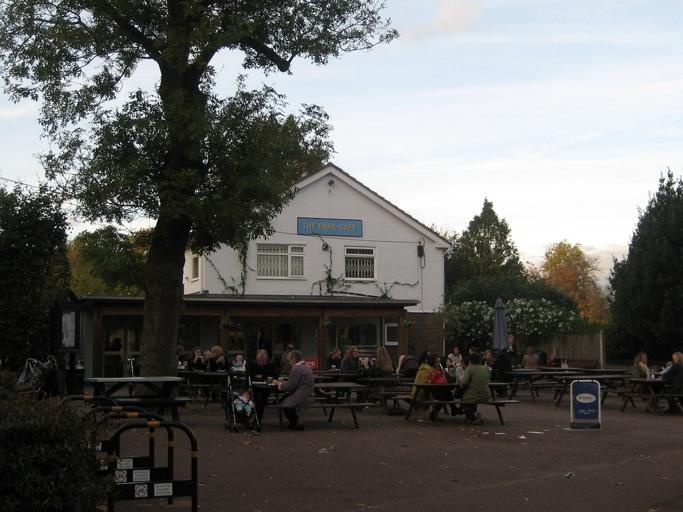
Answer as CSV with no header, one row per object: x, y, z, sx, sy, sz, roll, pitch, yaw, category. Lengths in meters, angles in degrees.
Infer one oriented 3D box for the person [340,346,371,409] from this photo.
0.344,3.372,25.190,0.631,1.443,0.760,5,-4,-14,person

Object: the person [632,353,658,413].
8.403,3.507,24.473,0.567,1.567,3.865,0,-7,19,person

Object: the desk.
-3.649,2.605,15.882,1.535,0.864,1.422,3,-4,-28,desk

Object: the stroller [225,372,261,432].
-2.177,3.251,19.485,0.514,1.265,1.299,1,2,-14,stroller

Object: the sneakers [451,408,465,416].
2.822,3.858,21.600,0.141,0.223,0.499,2,-14,-16,sneakers

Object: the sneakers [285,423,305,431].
-1.007,3.785,19.445,0.360,0.166,0.140,7,-7,5,sneakers

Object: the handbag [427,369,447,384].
2.318,2.910,21.032,0.303,0.320,0.313,2,-30,-5,handbag

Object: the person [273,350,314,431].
-1.029,2.986,19.491,0.883,1.739,0.866,3,-5,-12,person

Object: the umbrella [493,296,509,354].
5.496,2.371,30.376,0.504,1.802,0.819,0,-5,11,umbrella
